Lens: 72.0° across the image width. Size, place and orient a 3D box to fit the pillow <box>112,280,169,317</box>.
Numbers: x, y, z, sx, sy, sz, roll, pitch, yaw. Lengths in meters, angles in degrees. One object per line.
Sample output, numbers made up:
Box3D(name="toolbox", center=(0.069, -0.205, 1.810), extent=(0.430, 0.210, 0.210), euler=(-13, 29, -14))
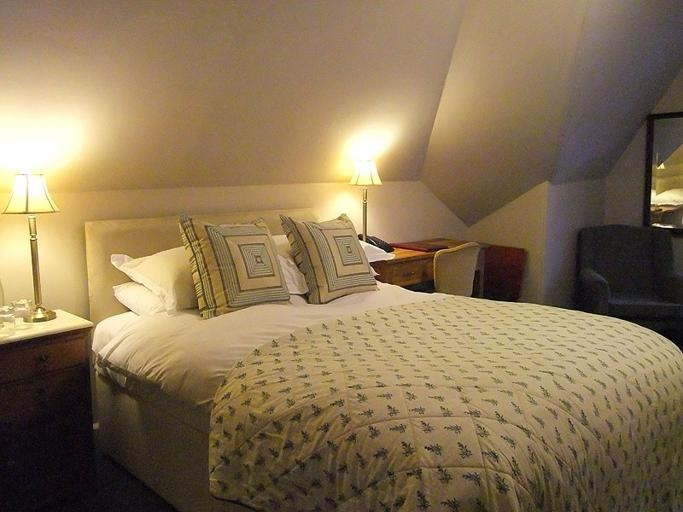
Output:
Box3D(name="pillow", center=(-1.122, 0.231, 2.611), extent=(0.281, 0.086, 0.182), euler=(29, 19, 35))

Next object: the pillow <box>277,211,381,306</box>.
Box3D(name="pillow", center=(-0.098, 0.024, 2.911), extent=(0.559, 0.570, 0.165), euler=(-6, -21, -48))

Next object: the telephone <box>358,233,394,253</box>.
Box3D(name="telephone", center=(0.312, -0.109, 3.944), extent=(0.198, 0.061, 0.179), euler=(26, 1, -24))

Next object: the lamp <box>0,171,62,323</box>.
Box3D(name="lamp", center=(-1.554, -0.065, 2.399), extent=(0.222, 0.832, 0.388), euler=(-9, 3, -33))
